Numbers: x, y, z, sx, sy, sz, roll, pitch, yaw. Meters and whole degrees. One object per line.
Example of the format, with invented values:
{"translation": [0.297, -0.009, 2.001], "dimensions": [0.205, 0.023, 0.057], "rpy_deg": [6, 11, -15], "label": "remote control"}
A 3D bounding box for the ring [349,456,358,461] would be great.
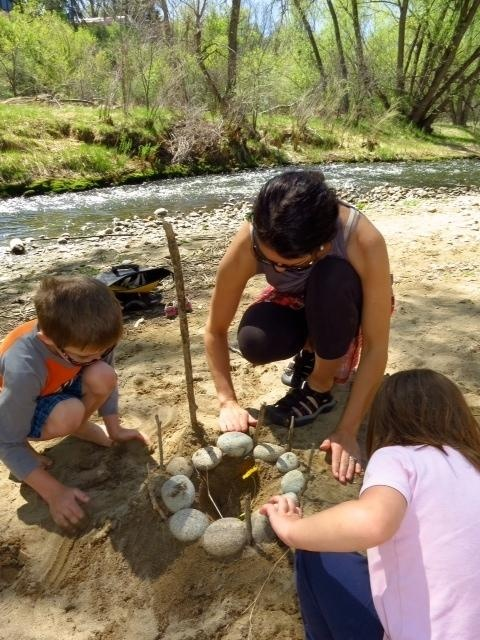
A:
{"translation": [0.388, 0.478, 1.744], "dimensions": [0.021, 0.014, 0.018], "rpy_deg": [30, 57, -11], "label": "ring"}

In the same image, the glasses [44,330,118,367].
{"translation": [-0.572, 0.119, 1.784], "dimensions": [0.164, 0.044, 0.160], "rpy_deg": [-19, 29, -41], "label": "glasses"}

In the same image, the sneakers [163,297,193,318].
{"translation": [-0.461, -0.101, 3.637], "dimensions": [0.174, 0.079, 0.226], "rpy_deg": [-2, 15, 1], "label": "sneakers"}
